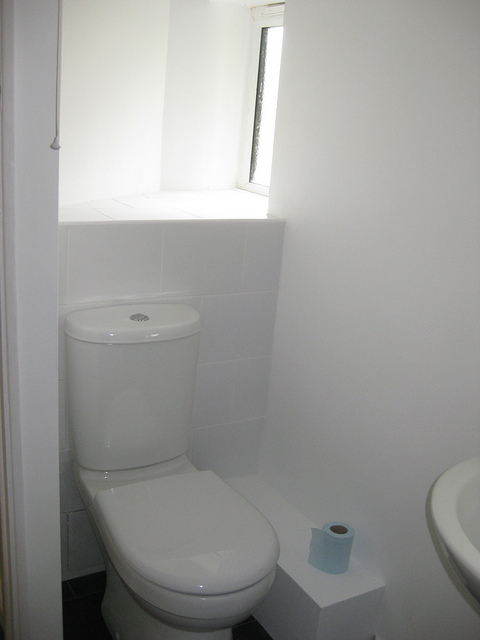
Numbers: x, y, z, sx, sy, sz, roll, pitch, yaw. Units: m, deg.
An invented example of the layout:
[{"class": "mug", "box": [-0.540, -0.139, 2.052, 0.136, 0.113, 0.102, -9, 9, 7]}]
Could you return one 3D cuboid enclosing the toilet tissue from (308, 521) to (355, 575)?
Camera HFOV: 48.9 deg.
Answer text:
[{"class": "toilet tissue", "box": [0.227, 0.591, 1.394, 0.119, 0.165, 0.092, 2, 15, 0]}]
